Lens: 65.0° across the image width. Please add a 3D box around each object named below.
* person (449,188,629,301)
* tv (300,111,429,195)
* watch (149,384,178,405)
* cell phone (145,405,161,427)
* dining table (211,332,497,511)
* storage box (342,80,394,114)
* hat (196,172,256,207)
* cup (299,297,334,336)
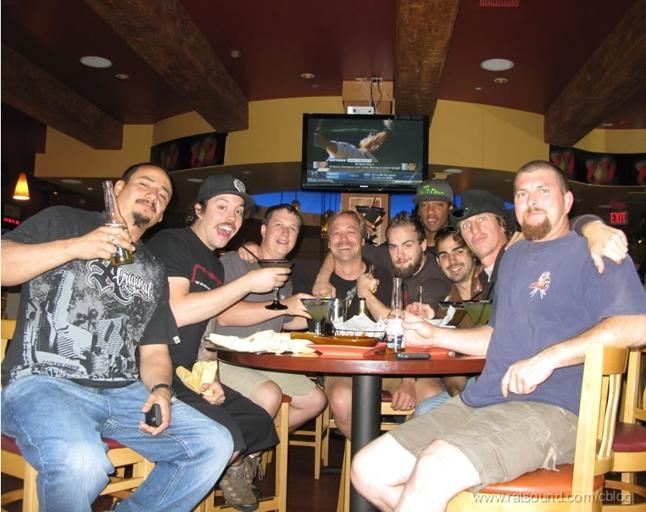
[{"bbox_3d":[1.611,-0.060,3.611,1.390,0.631,0.899,7,-8,9],"label":"person"},{"bbox_3d":[0.548,-1.313,6.482,1.269,0.773,0.124,1,0,2],"label":"tv"},{"bbox_3d":[-0.752,0.651,2.404,0.115,0.115,0.076,-4,-1,-7],"label":"watch"},{"bbox_3d":[-0.751,0.698,2.225,0.074,0.097,0.028,1,2,5],"label":"cell phone"},{"bbox_3d":[0.138,0.562,2.414,0.971,0.674,0.961,1,-4,-4],"label":"dining table"},{"bbox_3d":[0.634,-2.196,6.907,0.714,0.499,0.449,1,3,6],"label":"storage box"},{"bbox_3d":[-0.645,-0.431,3.271,0.389,0.187,0.300,-6,-6,31],"label":"hat"},{"bbox_3d":[-0.026,0.359,2.793,0.212,0.263,0.224,-1,-1,0],"label":"cup"}]
